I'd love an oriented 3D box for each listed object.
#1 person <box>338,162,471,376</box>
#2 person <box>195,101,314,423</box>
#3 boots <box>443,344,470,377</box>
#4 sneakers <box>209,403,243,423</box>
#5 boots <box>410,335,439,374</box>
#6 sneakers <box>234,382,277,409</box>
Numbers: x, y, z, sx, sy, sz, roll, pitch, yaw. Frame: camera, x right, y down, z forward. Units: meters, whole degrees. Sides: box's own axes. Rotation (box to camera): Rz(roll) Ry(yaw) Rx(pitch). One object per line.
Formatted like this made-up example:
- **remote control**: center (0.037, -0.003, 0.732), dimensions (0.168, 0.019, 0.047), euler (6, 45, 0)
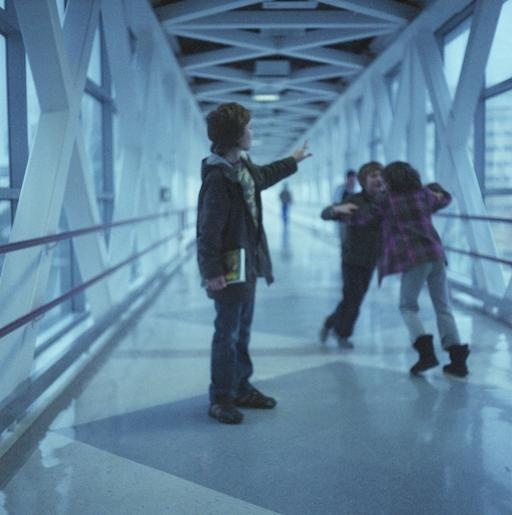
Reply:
- **person**: center (1.212, 0.054, 3.306), dimensions (0.650, 1.492, 0.568), euler (3, 3, 27)
- **person**: center (-0.084, 0.014, 2.518), dimensions (0.336, 1.673, 0.625), euler (4, 4, 41)
- **boots**: center (1.384, 0.692, 3.166), dimensions (0.167, 0.232, 0.194), euler (3, 3, 25)
- **sneakers**: center (-0.165, 0.810, 2.376), dimensions (0.197, 0.078, 0.127), euler (3, 3, 14)
- **boots**: center (1.139, 0.661, 3.119), dimensions (0.156, 0.300, 0.199), euler (2, 3, 2)
- **sneakers**: center (-0.005, 0.765, 2.578), dimensions (0.186, 0.096, 0.114), euler (-2, 0, 24)
